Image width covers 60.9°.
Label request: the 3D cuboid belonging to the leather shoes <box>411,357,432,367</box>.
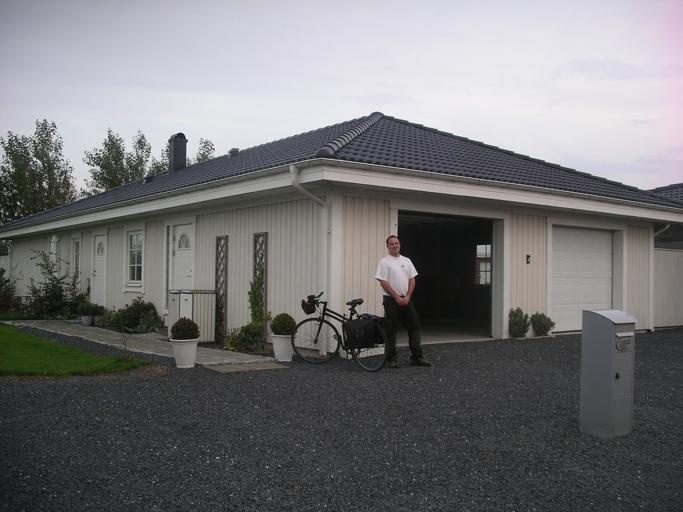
[{"bbox_3d":[1.325,1.722,9.575,0.342,0.263,0.133,-5,-3,11],"label":"leather shoes"}]

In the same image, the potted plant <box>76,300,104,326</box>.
[{"bbox_3d":[-7.282,1.684,16.759,0.861,0.582,0.724,2,4,9],"label":"potted plant"}]

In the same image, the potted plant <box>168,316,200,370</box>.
[{"bbox_3d":[-2.568,1.376,9.491,0.410,0.731,0.459,-12,-16,24],"label":"potted plant"}]

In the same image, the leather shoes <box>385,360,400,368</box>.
[{"bbox_3d":[0.845,1.728,9.456,0.219,0.139,0.348,1,4,4],"label":"leather shoes"}]

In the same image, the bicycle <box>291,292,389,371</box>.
[{"bbox_3d":[-0.034,1.311,10.114,2.233,1.477,0.778,-5,-6,42],"label":"bicycle"}]

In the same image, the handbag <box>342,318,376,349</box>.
[{"bbox_3d":[0.276,1.223,9.377,0.449,0.479,0.439,-1,-5,-33],"label":"handbag"}]

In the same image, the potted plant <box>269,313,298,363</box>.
[{"bbox_3d":[-1.004,1.393,10.164,0.379,0.684,0.392,2,-2,-19],"label":"potted plant"}]

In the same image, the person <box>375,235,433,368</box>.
[{"bbox_3d":[1.005,0.729,9.543,0.845,2.088,0.875,2,4,20],"label":"person"}]
